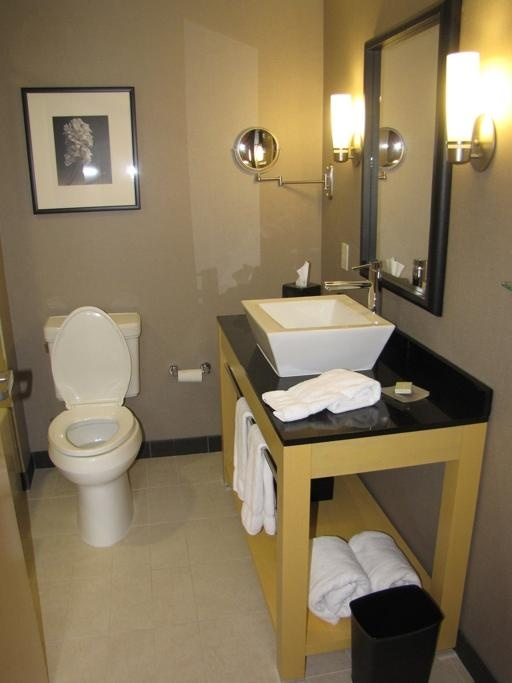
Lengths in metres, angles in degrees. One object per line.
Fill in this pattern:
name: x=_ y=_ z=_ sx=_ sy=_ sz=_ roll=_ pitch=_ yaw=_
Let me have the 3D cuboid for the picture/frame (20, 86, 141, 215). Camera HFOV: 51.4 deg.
picture/frame: x=-0.791 y=-0.859 z=2.391 sx=0.491 sy=0.629 sz=0.025 roll=-14 pitch=57 yaw=-25

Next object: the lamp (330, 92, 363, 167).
lamp: x=0.364 y=-0.803 z=2.083 sx=0.072 sy=0.172 sz=0.068 roll=10 pitch=4 yaw=-28

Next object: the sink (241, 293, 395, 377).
sink: x=0.167 y=-0.020 z=1.700 sx=0.399 sy=0.172 sz=0.523 roll=-2 pitch=15 yaw=-5

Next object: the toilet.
toilet: x=-0.710 y=0.331 z=2.307 sx=0.367 sy=0.928 sz=0.634 roll=-5 pitch=14 yaw=-17

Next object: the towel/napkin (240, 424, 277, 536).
towel/napkin: x=0.009 y=0.411 z=1.585 sx=0.096 sy=0.371 sz=0.321 roll=-1 pitch=8 yaw=-6

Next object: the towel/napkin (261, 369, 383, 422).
towel/napkin: x=0.175 y=0.134 z=1.376 sx=0.316 sy=0.073 sz=0.166 roll=-7 pitch=16 yaw=-22

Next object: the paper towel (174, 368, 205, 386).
paper towel: x=-0.342 y=0.182 z=2.685 sx=0.086 sy=0.084 sz=0.030 roll=3 pitch=-6 yaw=-6

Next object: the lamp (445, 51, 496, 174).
lamp: x=0.479 y=-0.518 z=1.193 sx=0.100 sy=0.254 sz=0.116 roll=-1 pitch=13 yaw=0
